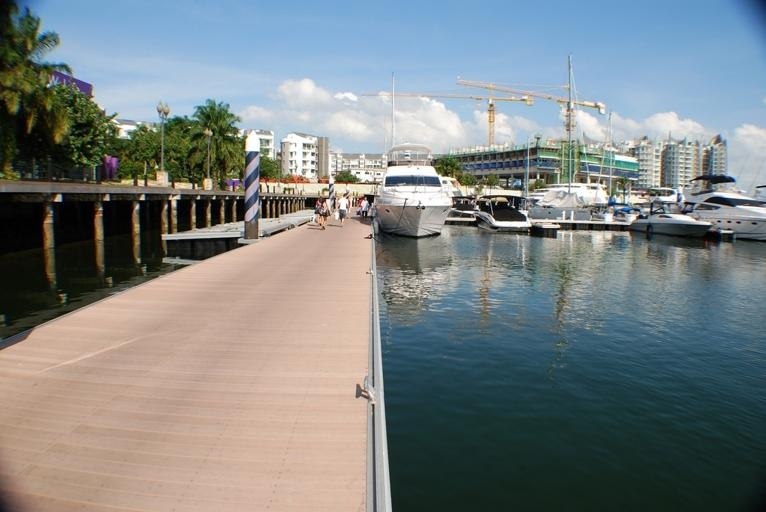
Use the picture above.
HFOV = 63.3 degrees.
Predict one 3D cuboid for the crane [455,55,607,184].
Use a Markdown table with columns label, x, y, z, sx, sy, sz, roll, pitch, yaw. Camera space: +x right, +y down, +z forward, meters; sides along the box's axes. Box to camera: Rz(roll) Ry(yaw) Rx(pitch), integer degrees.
| label | x | y | z | sx | sy | sz | roll | pitch | yaw |
| --- | --- | --- | --- | --- | --- | --- | --- | --- | --- |
| crane | 29.027 | -19.555 | 117.107 | 31.743 | 26.940 | 29.715 | -1 | 10 | 2 |
